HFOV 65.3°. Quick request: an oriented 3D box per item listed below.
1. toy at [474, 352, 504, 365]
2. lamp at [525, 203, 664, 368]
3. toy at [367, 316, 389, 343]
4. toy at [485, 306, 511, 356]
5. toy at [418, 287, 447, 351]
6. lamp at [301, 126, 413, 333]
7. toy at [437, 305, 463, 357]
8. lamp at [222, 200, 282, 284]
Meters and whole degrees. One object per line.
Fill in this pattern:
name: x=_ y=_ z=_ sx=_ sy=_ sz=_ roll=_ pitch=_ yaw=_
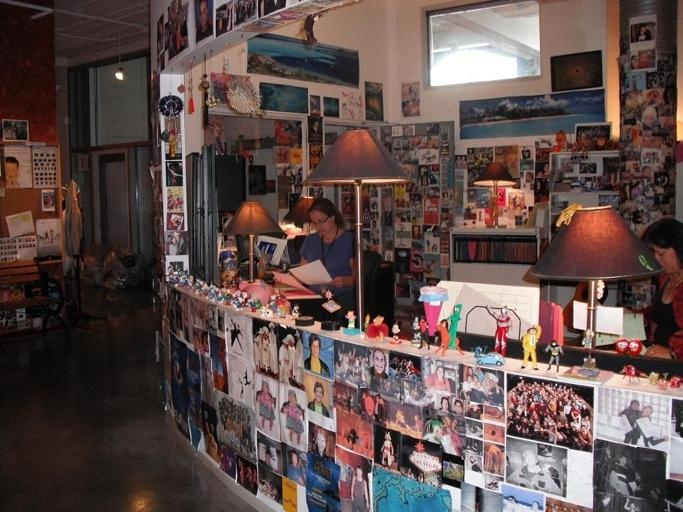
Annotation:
toy: x=0.620 y=0.433 z=2.218 sx=0.087 sy=0.045 sz=0.051 roll=4 pitch=-1 yaw=12
lamp: x=1.159 y=0.011 z=2.512 sx=0.532 sy=0.944 sz=0.567 roll=6 pitch=14 yaw=38
toy: x=0.173 y=0.348 z=2.639 sx=0.101 sy=0.121 sz=0.149 roll=-1 pitch=8 yaw=0
toy: x=0.695 y=0.344 z=2.330 sx=0.111 sy=0.212 sz=0.249 roll=0 pitch=8 yaw=14
toy: x=0.428 y=0.262 z=2.440 sx=0.126 sy=0.213 sz=0.143 roll=-5 pitch=8 yaw=12
lamp: x=0.072 y=-0.183 z=2.909 sx=0.546 sy=1.040 sz=0.692 roll=-2 pitch=8 yaw=-8
toy: x=0.480 y=0.324 z=2.392 sx=0.131 sy=0.217 sz=0.063 roll=-1 pitch=13 yaw=-9
lamp: x=-0.727 y=-0.067 z=4.336 sx=0.391 sy=0.748 sz=0.451 roll=6 pitch=8 yaw=26
